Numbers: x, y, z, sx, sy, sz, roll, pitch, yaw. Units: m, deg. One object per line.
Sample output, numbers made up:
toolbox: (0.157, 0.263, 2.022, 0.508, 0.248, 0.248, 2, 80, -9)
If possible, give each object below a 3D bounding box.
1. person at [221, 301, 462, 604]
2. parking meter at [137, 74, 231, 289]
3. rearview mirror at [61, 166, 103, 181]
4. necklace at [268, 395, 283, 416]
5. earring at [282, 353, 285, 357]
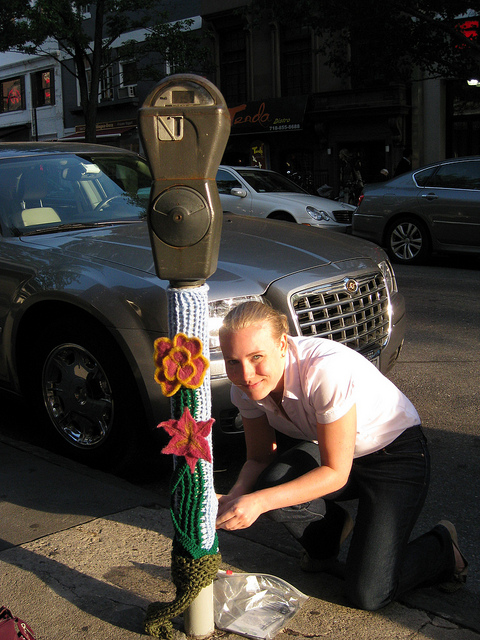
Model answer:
person: (0.252, 0.415, 1.751, 0.835, 0.985, 0.555, -2, 7, -22)
parking meter: (-0.114, -0.273, 1.171, 0.188, 0.460, 0.119, 1, 9, 8)
rearview mirror: (-1.066, -0.968, 3.645, 0.155, 0.070, 0.207, -3, 0, -16)
necklace: (0.107, 0.254, 1.660, 0.050, 0.025, 0.067, -35, 18, 40)
earring: (0.120, 0.097, 1.546, 0.012, 0.011, 0.003, 0, 4, -34)
